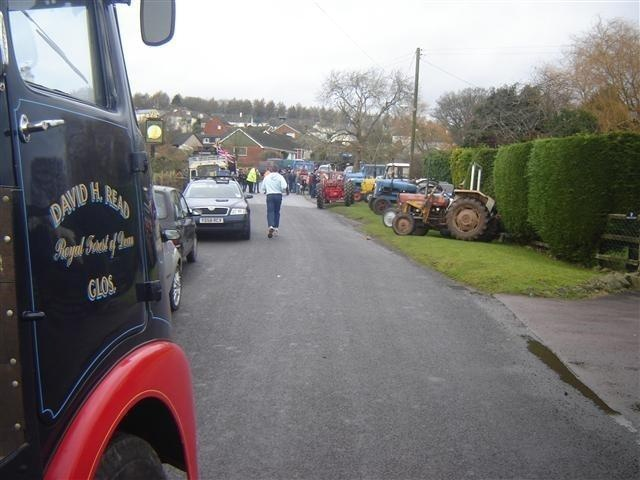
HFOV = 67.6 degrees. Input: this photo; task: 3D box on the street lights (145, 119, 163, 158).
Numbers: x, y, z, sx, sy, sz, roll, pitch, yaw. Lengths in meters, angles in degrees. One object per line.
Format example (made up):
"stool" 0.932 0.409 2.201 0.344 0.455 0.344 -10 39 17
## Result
"street lights" -5.496 -3.323 15.830 0.602 1.611 0.288 0 -10 -10
